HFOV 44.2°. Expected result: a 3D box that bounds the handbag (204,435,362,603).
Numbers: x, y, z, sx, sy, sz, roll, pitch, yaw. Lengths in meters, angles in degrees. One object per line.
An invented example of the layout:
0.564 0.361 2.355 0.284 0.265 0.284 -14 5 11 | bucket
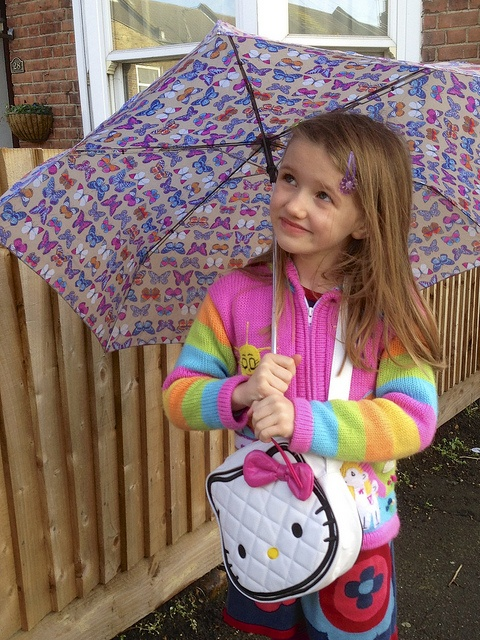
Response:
0.099 0.388 1.242 0.286 0.338 0.200 -23 -26 33 | handbag

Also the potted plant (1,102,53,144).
-2.100 -1.972 5.882 0.443 0.300 0.427 -2 0 -9 | potted plant
